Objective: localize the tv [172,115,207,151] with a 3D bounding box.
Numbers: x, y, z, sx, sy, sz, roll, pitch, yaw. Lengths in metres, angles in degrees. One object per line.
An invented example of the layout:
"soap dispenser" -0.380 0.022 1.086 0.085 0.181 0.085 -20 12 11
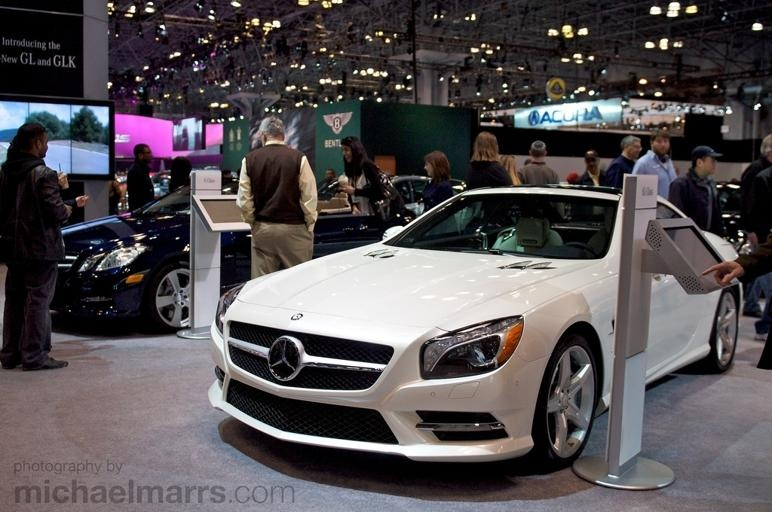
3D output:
"tv" -11.004 -6.724 31.217 0.895 1.843 3.257 -6 11 -38

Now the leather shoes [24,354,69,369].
"leather shoes" -3.300 1.058 5.475 0.351 0.157 0.131 -4 7 -31

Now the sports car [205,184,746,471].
"sports car" 0.348 0.413 4.062 2.943 1.802 1.884 -4 10 -31

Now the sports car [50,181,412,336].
"sports car" -2.029 0.086 7.124 3.727 1.319 1.598 -1 1 -35

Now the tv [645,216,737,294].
"tv" 1.856 -0.012 3.483 0.429 0.428 0.603 5 4 39
